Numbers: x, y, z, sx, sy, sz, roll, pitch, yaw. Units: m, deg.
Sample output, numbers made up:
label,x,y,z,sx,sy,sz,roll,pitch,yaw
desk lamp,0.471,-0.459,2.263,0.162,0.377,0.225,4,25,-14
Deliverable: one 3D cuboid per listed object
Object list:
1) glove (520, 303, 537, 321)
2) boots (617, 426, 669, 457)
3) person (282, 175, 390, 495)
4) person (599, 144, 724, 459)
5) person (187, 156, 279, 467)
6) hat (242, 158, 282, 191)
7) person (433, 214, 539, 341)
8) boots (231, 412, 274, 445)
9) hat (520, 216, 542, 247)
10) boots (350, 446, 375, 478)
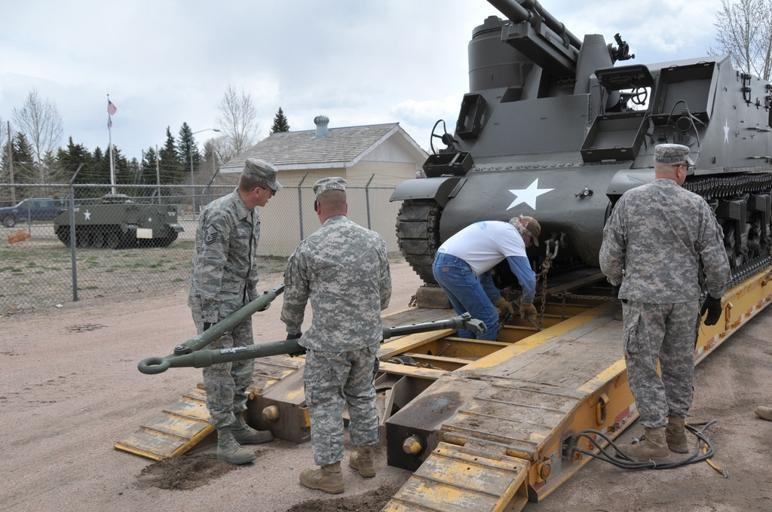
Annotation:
label,x,y,z,sx,sy,sz,roll,pitch,yaw
glove,1.752,0.685,7.564,0.142,0.193,0.468,-4,-14,17
boots,2.314,1.684,5.606,0.469,0.327,0.192,1,4,9
person,-0.384,0.677,5.254,0.941,2.638,0.560,-3,10,-11
person,2.562,0.415,5.665,0.989,2.842,0.681,-4,10,-12
person,-1.368,0.521,5.732,0.779,2.806,0.614,-8,12,-33
hat,-1.118,-0.736,5.645,0.397,0.209,0.280,15,5,-15
person,1.222,0.278,7.470,1.181,1.490,0.812,1,10,14
boots,-1.259,1.741,6.278,0.527,0.345,0.183,-3,7,-19
hat,1.722,-0.312,7.390,0.162,0.314,0.221,-39,18,5
boots,-0.208,1.817,5.513,0.156,0.253,0.362,-1,9,-11
